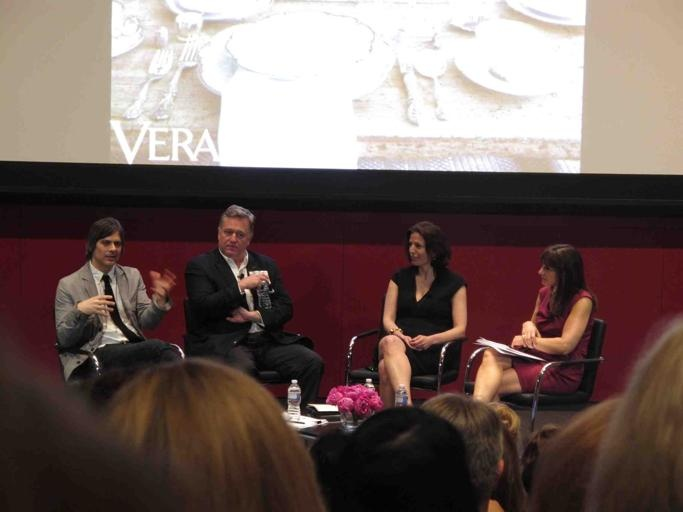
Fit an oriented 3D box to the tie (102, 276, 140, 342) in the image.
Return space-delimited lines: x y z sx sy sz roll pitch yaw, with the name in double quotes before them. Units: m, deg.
"tie" -1.072 0.259 3.192 0.204 0.299 0.112 -6 -3 -11
